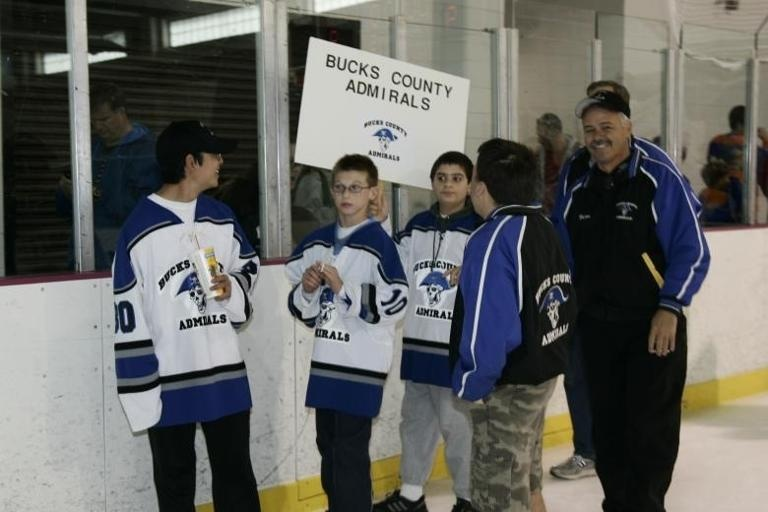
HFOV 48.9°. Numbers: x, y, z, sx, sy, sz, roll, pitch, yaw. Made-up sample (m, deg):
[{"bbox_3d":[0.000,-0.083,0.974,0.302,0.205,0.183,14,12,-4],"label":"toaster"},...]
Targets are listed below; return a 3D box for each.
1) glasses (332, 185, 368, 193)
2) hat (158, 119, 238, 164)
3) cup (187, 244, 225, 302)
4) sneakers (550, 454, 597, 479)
[{"bbox_3d":[-0.204,-0.418,5.193,0.208,0.056,0.057,-1,6,0],"label":"glasses"},{"bbox_3d":[-1.111,-0.685,4.999,0.353,0.201,0.233,-22,14,-7],"label":"hat"},{"bbox_3d":[-1.015,0.095,4.887,0.175,0.298,0.176,-1,6,0],"label":"cup"},{"bbox_3d":[1.388,1.552,6.256,0.334,0.165,0.150,0,-3,-15],"label":"sneakers"}]
